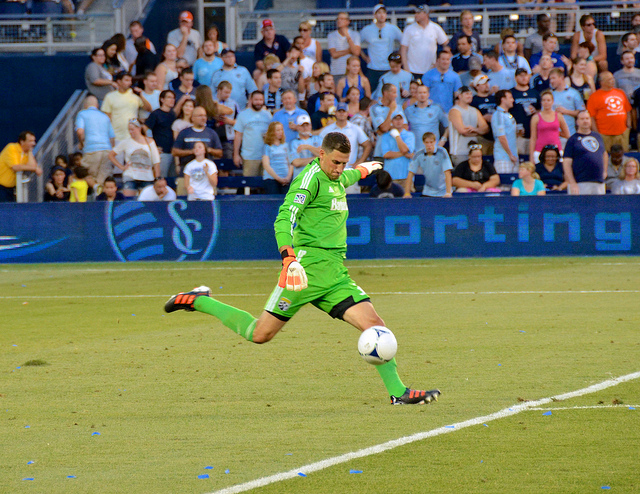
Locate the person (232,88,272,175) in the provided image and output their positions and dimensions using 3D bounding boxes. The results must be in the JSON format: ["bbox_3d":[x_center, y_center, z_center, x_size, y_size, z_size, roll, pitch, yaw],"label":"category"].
[{"bbox_3d":[-1.402,-2.307,31.757,0.759,1.651,0.659,2,17,0],"label":"person"}]

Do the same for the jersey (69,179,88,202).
[{"bbox_3d":[-4.776,-1.106,31.496,0.475,0.417,0.254,3,-3,-31],"label":"jersey"}]

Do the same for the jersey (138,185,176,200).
[{"bbox_3d":[-3.269,-0.999,30.901,0.557,0.170,0.286,-2,0,-10],"label":"jersey"}]

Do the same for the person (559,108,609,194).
[{"bbox_3d":[4.974,-1.797,30.456,0.910,1.553,1.196,-1,5,8],"label":"person"}]

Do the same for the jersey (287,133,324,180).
[{"bbox_3d":[-0.366,-1.676,31.034,0.788,0.946,0.393,5,10,-18],"label":"jersey"}]

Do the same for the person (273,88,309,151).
[{"bbox_3d":[-0.638,-2.501,31.357,0.631,1.147,0.486,3,16,0],"label":"person"}]

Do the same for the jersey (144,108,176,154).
[{"bbox_3d":[-3.104,-2.317,31.526,0.876,0.812,0.346,-11,23,-37],"label":"jersey"}]

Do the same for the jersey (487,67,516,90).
[{"bbox_3d":[3.530,-3.295,31.657,0.529,0.497,0.274,0,4,-8],"label":"jersey"}]

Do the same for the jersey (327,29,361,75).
[{"bbox_3d":[0.363,-4.078,33.721,0.729,0.943,0.541,-5,32,-24],"label":"jersey"}]

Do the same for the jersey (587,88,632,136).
[{"bbox_3d":[5.548,-2.620,31.278,1.014,0.888,0.559,-7,12,-12],"label":"jersey"}]

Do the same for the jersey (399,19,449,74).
[{"bbox_3d":[2.055,-4.030,32.657,0.892,1.047,0.490,-1,5,-3],"label":"jersey"}]

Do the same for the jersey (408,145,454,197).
[{"bbox_3d":[2.122,-1.433,30.574,0.851,0.922,0.457,-1,11,20],"label":"jersey"}]

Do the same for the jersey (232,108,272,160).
[{"bbox_3d":[-1.301,-2.211,31.634,0.951,1.009,0.436,-3,12,-21],"label":"jersey"}]

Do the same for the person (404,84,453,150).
[{"bbox_3d":[1.959,-2.163,31.399,1.205,1.827,0.564,5,2,6],"label":"person"}]

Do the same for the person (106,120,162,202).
[{"bbox_3d":[-3.709,-1.771,31.384,0.940,1.585,0.783,-6,20,-27],"label":"person"}]

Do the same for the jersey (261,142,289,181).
[{"bbox_3d":[-0.892,-1.666,31.062,0.779,0.842,0.438,-1,6,-16],"label":"jersey"}]

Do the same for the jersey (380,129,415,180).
[{"bbox_3d":[1.589,-1.756,31.194,0.586,0.952,0.723,-3,9,-36],"label":"jersey"}]

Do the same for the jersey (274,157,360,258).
[{"bbox_3d":[-0.039,-0.549,23.893,0.531,0.988,1.904,2,11,26],"label":"jersey"}]

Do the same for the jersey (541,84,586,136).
[{"bbox_3d":[4.726,-2.653,31.455,0.966,0.971,0.596,-3,22,22],"label":"jersey"}]

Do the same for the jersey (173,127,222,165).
[{"bbox_3d":[-2.416,-1.980,31.293,1.046,0.745,0.496,-1,19,-11],"label":"jersey"}]

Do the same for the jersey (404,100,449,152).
[{"bbox_3d":[2.036,-2.341,31.508,0.967,1.017,0.522,5,17,25],"label":"jersey"}]

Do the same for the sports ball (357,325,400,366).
[{"bbox_3d":[0.758,1.348,22.125,0.513,0.565,0.239,-1,5,4],"label":"sports ball"}]

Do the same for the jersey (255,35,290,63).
[{"bbox_3d":[-1.033,-4.120,33.480,1.011,0.748,0.497,0,8,0],"label":"jersey"}]

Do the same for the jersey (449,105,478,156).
[{"bbox_3d":[2.771,-2.293,31.151,0.762,0.950,0.529,-8,17,-18],"label":"jersey"}]

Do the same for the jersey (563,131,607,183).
[{"bbox_3d":[5.028,-1.740,30.286,0.991,0.928,0.576,-9,18,-20],"label":"jersey"}]

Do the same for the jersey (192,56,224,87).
[{"bbox_3d":[-2.300,-3.563,32.997,0.745,0.622,0.405,-7,12,-7],"label":"jersey"}]
